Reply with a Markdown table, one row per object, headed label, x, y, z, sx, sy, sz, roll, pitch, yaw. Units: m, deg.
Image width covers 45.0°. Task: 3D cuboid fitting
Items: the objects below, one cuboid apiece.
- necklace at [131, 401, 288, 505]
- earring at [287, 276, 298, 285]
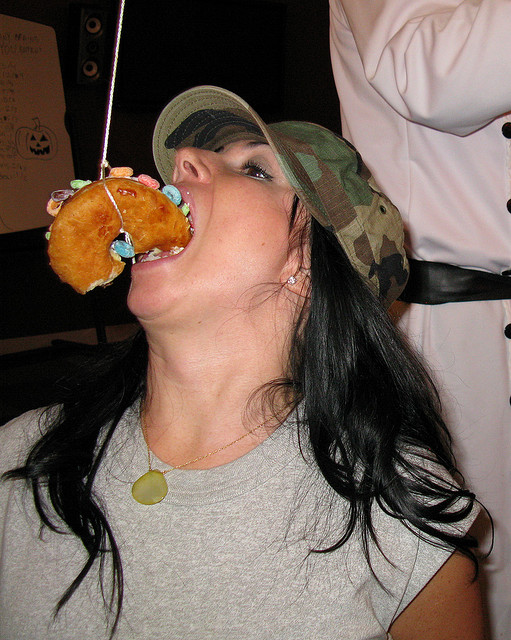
| label | x | y | z | sx | sy | sz | roll | pitch | yaw |
| --- | --- | --- | --- | --- | --- | --- | --- | --- | --- |
| necklace | -0.053 | 0.195 | 1.033 | 0.256 | 0.038 | 0.231 | 4 | 69 | 15 |
| earring | 0.066 | -0.071 | 1.122 | 0.014 | 0.018 | 0.015 | 28 | 69 | 4 |
